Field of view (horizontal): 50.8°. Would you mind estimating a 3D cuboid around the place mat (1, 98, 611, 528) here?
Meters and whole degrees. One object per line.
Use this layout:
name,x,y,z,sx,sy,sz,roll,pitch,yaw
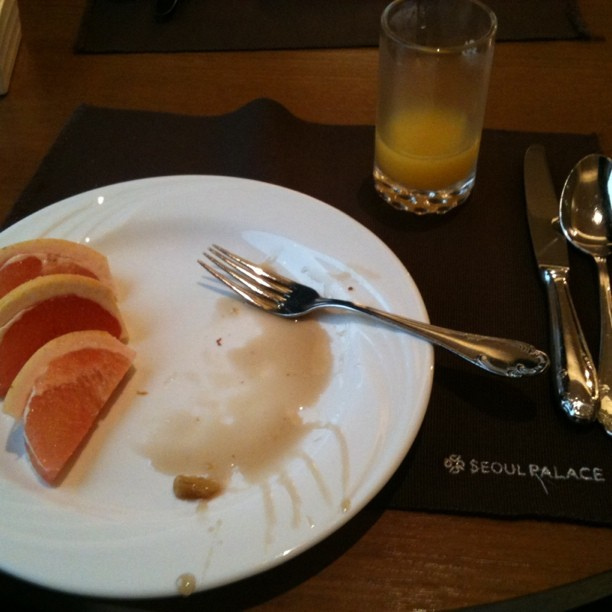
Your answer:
place mat,0.192,0.008,0.884,0.927,0.119,0.540,5,55,8
